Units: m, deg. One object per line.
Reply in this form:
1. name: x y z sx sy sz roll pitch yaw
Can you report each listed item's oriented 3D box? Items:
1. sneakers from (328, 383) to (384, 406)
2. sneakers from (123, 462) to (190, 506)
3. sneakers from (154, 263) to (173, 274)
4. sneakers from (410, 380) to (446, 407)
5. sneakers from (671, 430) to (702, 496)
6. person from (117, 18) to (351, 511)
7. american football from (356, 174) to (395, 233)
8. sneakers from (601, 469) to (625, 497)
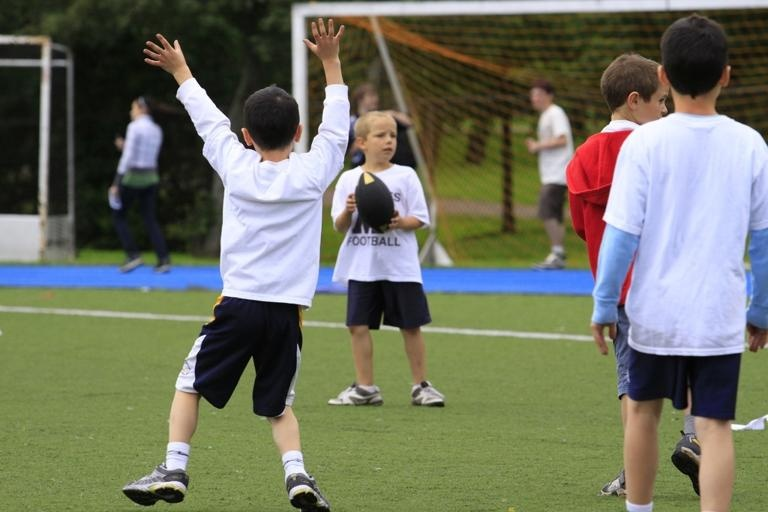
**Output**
1. sneakers: -0.166 0.914 7.242 0.394 0.179 0.137 1 -6 -11
2. sneakers: -1.132 1.142 5.520 0.350 0.151 0.180 -4 41 21
3. sneakers: -2.458 0.134 12.194 0.167 0.113 0.081 4 -4 -8
4. sneakers: 0.289 0.893 7.144 0.229 0.143 0.227 1 5 3
5. sneakers: 1.598 1.073 5.809 0.123 0.155 0.337 -6 12 8
6. person: -0.681 0.004 5.707 0.976 2.522 0.758 0 5 -3
7. american football: -0.065 -0.345 7.097 0.214 0.346 0.243 -27 -23 -8
8. sneakers: 1.219 1.213 5.800 0.066 0.082 0.198 -9 -15 36
